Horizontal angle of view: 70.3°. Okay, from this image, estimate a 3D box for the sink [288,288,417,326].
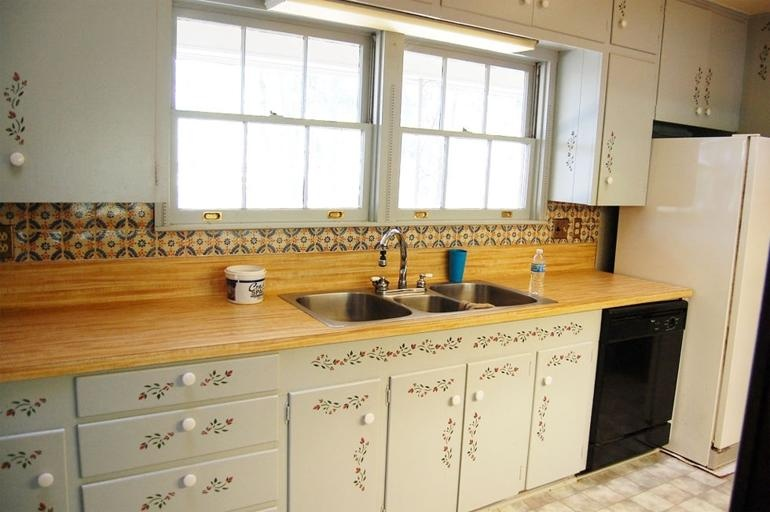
[{"bbox_3d":[-0.245,0.282,3.037,0.361,0.140,0.297,0,9,-36],"label":"sink"}]

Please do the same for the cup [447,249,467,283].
[{"bbox_3d":[0.478,0.058,3.478,0.161,0.211,0.117,-4,9,-18],"label":"cup"}]

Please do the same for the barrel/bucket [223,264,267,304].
[{"bbox_3d":[-0.743,0.150,2.894,0.200,0.148,0.200,2,10,0],"label":"barrel/bucket"}]

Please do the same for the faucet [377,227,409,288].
[{"bbox_3d":[0.043,0.005,3.246,0.185,0.356,0.256,-1,9,1],"label":"faucet"}]
